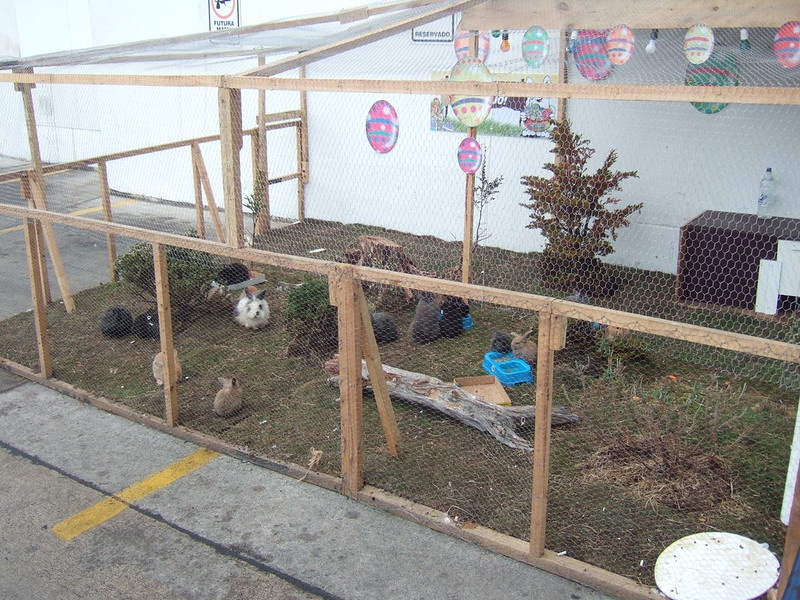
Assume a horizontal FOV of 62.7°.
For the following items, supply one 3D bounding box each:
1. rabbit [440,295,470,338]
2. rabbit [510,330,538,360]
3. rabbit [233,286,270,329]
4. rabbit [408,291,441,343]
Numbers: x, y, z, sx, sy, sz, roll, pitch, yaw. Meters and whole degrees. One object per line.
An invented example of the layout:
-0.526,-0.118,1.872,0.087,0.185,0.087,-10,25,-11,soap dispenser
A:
0.780,0.179,9.387,0.328,0.534,0.468,-6,0,-40,rabbit
1.614,0.625,8.531,0.291,0.117,0.389,5,63,35,rabbit
-2.193,0.138,9.795,0.432,0.670,0.509,4,24,-12,rabbit
0.377,0.257,9.435,0.439,0.709,0.203,4,-2,3,rabbit
